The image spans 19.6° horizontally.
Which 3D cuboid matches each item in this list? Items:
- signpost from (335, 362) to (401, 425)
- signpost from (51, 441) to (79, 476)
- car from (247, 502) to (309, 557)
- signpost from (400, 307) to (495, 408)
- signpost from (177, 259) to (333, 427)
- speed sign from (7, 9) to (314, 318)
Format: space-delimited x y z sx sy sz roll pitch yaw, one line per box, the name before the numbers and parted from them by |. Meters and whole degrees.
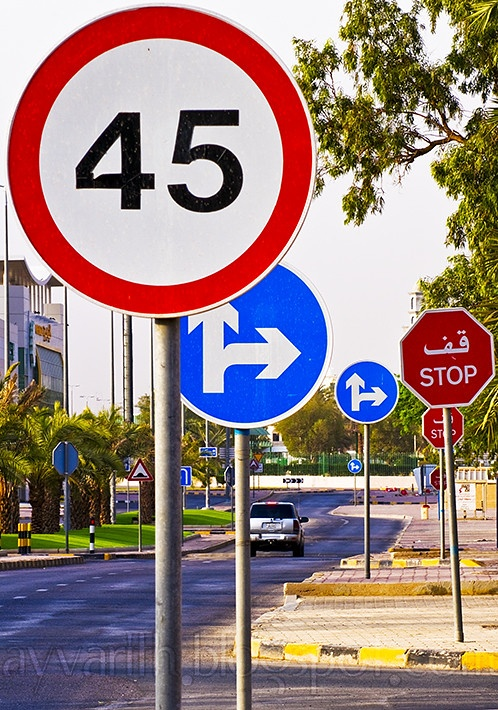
signpost | 1.254 0.388 15.266 0.676 0.072 1.000 0 -45 5
signpost | -3.588 2.049 27.773 0.428 0.703 0.523 -1 -8 -14
car | 0.591 3.634 29.611 1.007 1.128 2.077 0 -1 5
signpost | 1.594 0.024 11.298 0.652 1.099 0.084 -2 -4 6
signpost | 0.002 -0.025 4.340 0.381 0.645 0.031 -6 -35 4
speed sign | -0.202 -0.432 3.204 0.481 0.781 0.029 1 2 -4
